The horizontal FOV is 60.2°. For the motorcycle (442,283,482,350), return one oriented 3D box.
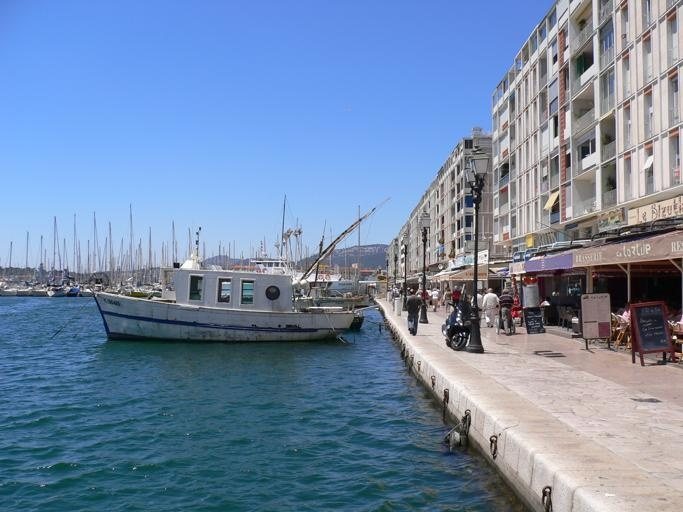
[{"bbox_3d":[4.070,2.360,20.430,0.802,1.665,2.731,0,-2,10],"label":"motorcycle"}]

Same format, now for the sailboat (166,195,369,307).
[{"bbox_3d":[-6.705,0.522,31.829,12.573,6.445,4.588,1,-5,-5],"label":"sailboat"}]
